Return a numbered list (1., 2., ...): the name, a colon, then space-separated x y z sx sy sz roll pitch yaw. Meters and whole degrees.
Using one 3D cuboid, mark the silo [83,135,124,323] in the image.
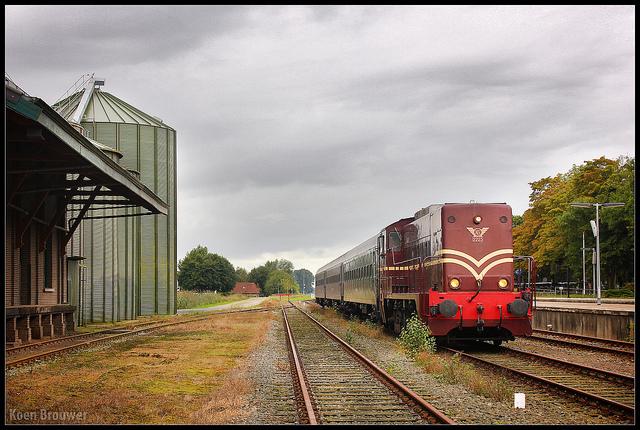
1. silo: -14.743 0.474 36.417 2.224 13.310 5.307 1 -12 -21
